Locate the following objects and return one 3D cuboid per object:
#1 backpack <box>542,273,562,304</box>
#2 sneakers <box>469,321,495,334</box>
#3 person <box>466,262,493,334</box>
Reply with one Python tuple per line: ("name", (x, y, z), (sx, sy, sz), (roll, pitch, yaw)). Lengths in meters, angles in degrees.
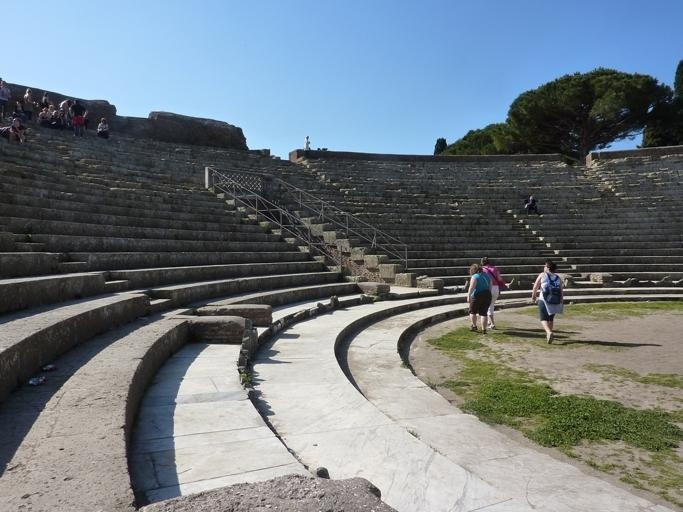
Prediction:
("backpack", (3.732, 0.572, 8.569), (0.308, 0.552, 0.240), (0, 3, 20))
("sneakers", (2.798, 1.462, 9.668), (0.185, 0.200, 0.512), (2, -6, -25))
("person", (2.740, 0.829, 9.532), (0.424, 1.327, 0.500), (0, 3, 17))
